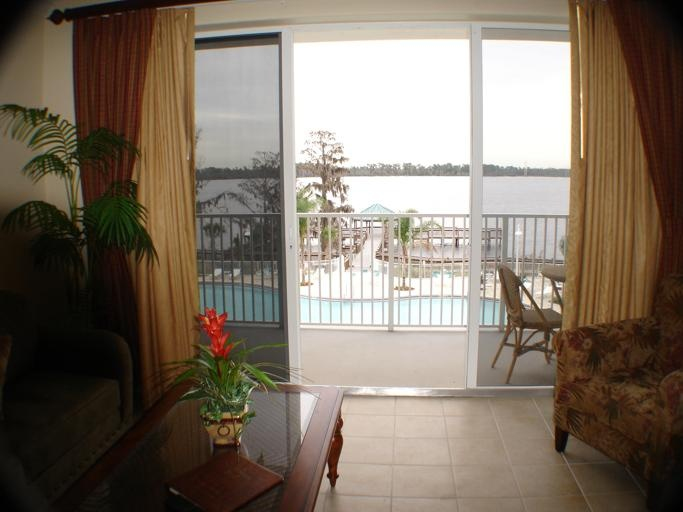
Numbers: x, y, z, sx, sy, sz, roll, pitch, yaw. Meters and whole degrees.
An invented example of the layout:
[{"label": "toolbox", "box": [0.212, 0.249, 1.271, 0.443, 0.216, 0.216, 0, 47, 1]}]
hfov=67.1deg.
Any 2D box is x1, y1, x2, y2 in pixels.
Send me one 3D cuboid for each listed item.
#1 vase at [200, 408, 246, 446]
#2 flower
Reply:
[{"label": "vase", "box": [-0.575, 0.845, 2.515, 0.186, 0.143, 0.164, 1, 0, 2]}, {"label": "flower", "box": [-0.632, 0.633, 2.856, 0.725, 0.730, 0.773, 0, 7, 4]}]
